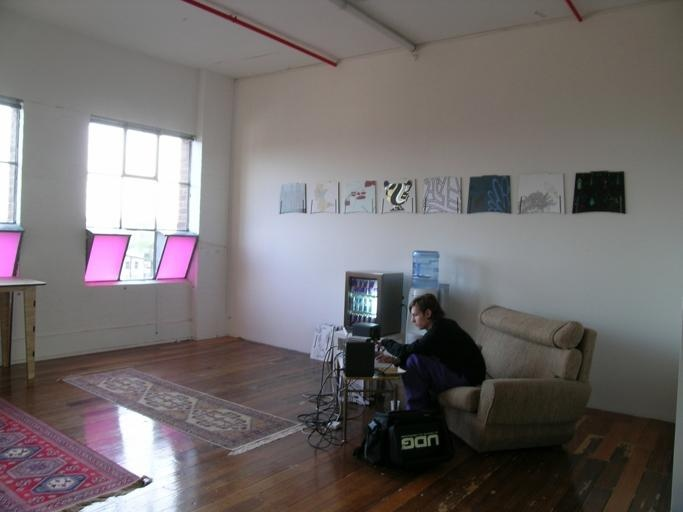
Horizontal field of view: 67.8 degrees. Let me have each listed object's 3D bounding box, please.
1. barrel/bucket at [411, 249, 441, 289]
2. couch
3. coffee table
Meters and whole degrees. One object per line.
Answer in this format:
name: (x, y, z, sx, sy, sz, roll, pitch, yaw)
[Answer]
barrel/bucket: (1.099, 0.157, 6.614, 0.359, 0.448, 0.433, 2, 7, 7)
couch: (1.639, 1.220, 5.442, 1.249, 1.237, 1.754, 3, 1, -21)
coffee table: (0.280, 1.459, 5.149, 0.440, 0.546, 0.793, 10, -15, -2)
